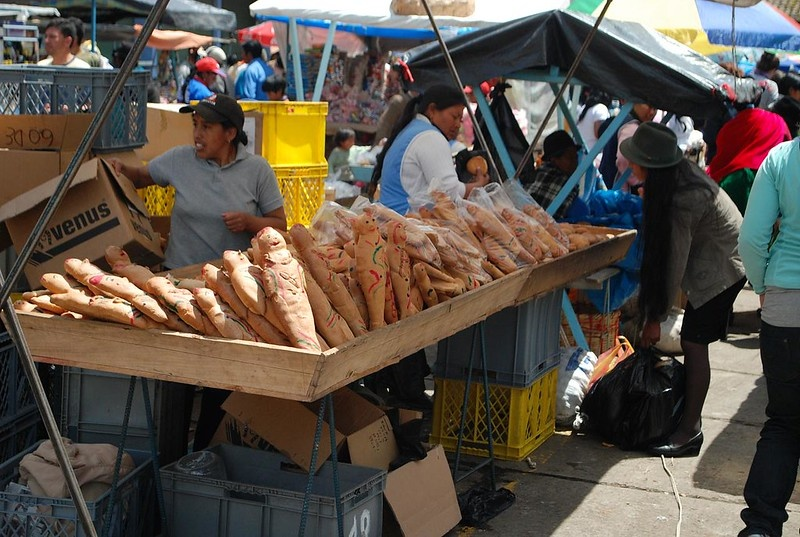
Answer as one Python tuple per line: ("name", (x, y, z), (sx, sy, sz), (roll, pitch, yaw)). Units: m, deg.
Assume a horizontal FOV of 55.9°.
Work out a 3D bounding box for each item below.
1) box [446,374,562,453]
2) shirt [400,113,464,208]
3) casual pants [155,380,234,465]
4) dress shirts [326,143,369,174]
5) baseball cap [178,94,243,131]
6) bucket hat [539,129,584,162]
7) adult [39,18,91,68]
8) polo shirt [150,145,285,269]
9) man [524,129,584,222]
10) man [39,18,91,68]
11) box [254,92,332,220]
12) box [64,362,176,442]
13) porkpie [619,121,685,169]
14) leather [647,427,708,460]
("box", (0.741, 0.993, 5.506), (0.618, 0.394, 0.640), (1, 9, 29))
("shirt", (0.201, -0.747, 5.149), (0.345, 0.624, 0.638), (-22, 20, -24))
("casual pants", (-1.128, 0.855, 4.123), (0.253, 0.341, 0.454), (17, 23, 22))
("dress shirts", (-0.804, -1.720, 11.421), (0.513, 0.264, 0.705), (-2, 6, 3))
("baseball cap", (-1.171, -0.967, 4.698), (0.316, 0.160, 0.224), (18, 1, -35))
("bucket hat", (1.465, -1.140, 6.947), (0.245, 0.184, 0.352), (-12, 8, 38))
("adult", (-3.366, -2.292, 7.547), (0.335, 0.515, 0.906), (-3, 11, -24))
("polo shirt", (-1.131, -0.373, 4.639), (0.933, 0.755, 0.327), (6, 3, -6))
("man", (1.366, -0.772, 7.027), (0.355, 1.106, 0.345), (38, 54, 20))
("man", (-3.372, -2.294, 7.561), (0.323, 0.515, 0.933), (-4, 11, -26))
("box", (-1.240, -1.125, 7.314), (0.720, 1.152, 1.204), (0, 11, -3))
("box", (-1.567, 0.735, 4.296), (0.442, 0.440, 0.454), (0, -3, 13))
("porkpie", (1.830, -0.899, 5.467), (0.447, 0.330, 0.302), (5, 11, 17))
("leather", (2.053, 1.336, 5.637), (0.434, 0.201, 0.160), (4, -3, -9))
